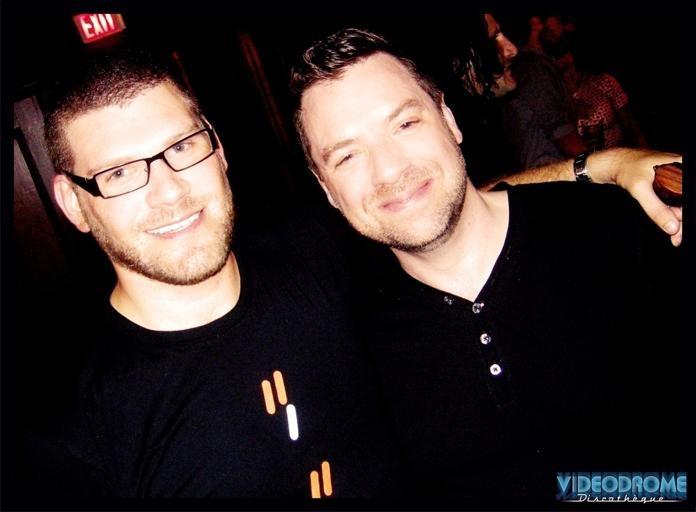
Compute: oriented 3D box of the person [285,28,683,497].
[{"bbox_3d":[0.648,0.009,2.560,1.531,1.830,1.122,-6,34,10],"label":"person"}]
